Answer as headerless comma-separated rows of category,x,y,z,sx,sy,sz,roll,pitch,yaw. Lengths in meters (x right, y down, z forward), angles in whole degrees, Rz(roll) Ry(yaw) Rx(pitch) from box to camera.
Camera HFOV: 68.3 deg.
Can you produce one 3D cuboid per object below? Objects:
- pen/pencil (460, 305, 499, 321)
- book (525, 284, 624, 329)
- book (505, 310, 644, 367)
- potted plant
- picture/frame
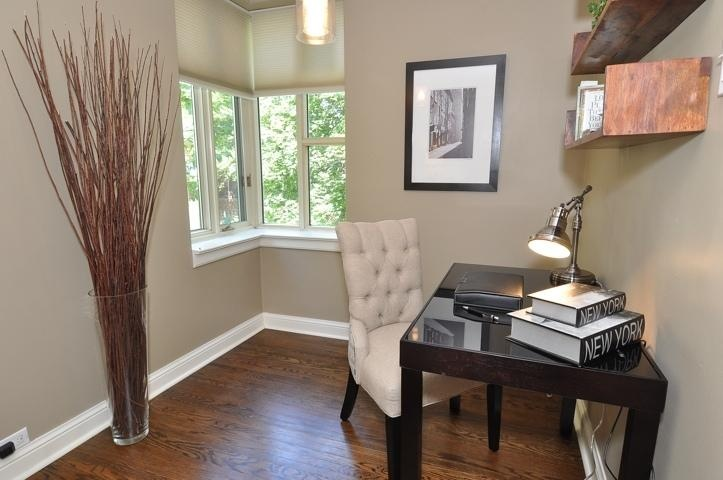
pen/pencil,0.598,0.370,2.681,0.257,0.028,0.028,8,51,50
book,0.981,0.285,2.443,0.403,0.080,0.429,0,11,38
book,0.989,0.417,2.328,0.318,0.071,0.309,-8,10,-30
potted plant,-1.449,-0.124,3.303,0.508,2.580,0.856,4,14,24
picture/frame,0.683,-0.864,3.754,0.968,1.223,0.081,3,9,20
